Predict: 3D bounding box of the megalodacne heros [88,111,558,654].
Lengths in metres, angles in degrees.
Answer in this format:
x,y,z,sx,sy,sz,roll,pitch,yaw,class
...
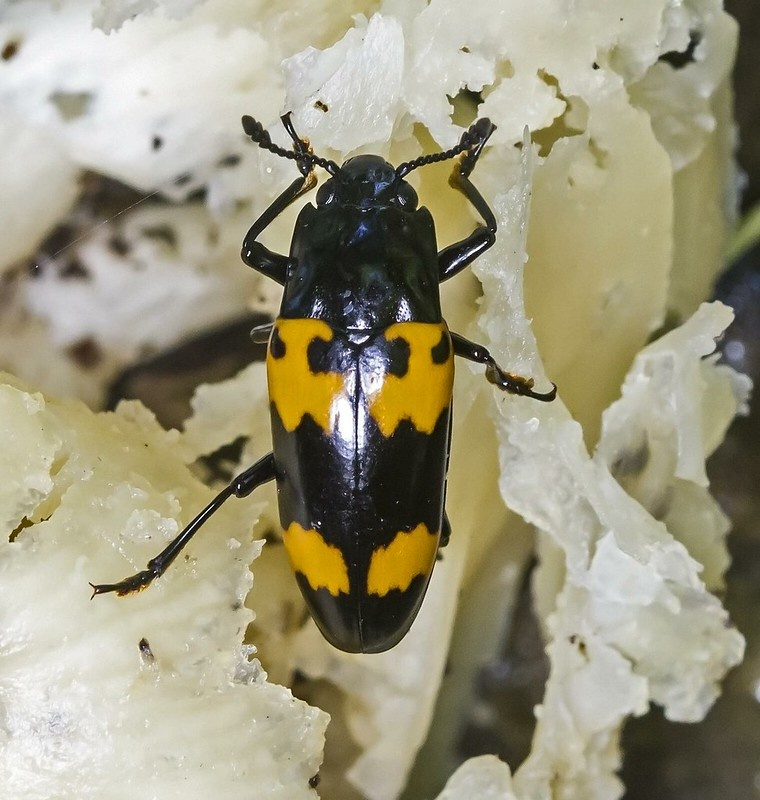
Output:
x,y,z,sx,sy,sz,roll,pitch,yaw,class
-0.016,-0.021,1.552,0.508,0.292,0.764,11,79,0,megalodacne heros
